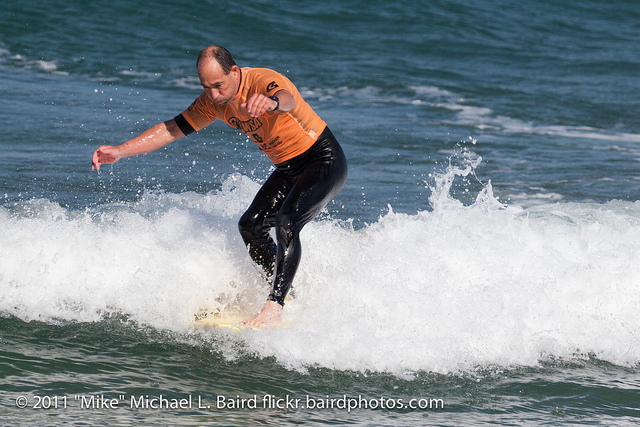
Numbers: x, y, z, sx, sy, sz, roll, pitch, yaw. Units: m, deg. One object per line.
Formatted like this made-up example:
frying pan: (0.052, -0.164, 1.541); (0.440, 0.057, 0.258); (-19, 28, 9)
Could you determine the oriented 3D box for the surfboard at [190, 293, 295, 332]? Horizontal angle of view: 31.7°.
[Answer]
surfboard: (-1.101, 1.274, 14.588); (1.564, 0.494, 0.458); (2, 17, -45)
